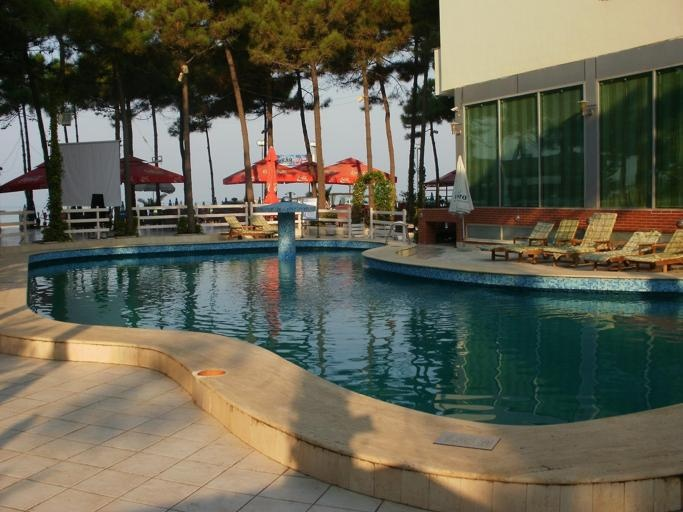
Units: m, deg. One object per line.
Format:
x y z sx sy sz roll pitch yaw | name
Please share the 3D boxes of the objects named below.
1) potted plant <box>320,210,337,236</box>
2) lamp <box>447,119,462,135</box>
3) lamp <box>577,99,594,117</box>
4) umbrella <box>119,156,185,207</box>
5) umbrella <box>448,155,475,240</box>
-0.458 -1.488 26.285 0.977 1.154 1.750 0 2 -8 | potted plant
3.668 -4.287 19.882 0.471 0.530 0.475 3 -1 -27 | lamp
6.384 -3.894 15.751 0.338 0.419 0.445 -6 5 -39 | lamp
-9.348 -3.968 28.777 3.225 1.284 3.169 -2 5 -12 | umbrella
3.658 -1.777 18.585 0.677 2.626 1.600 1 6 12 | umbrella
